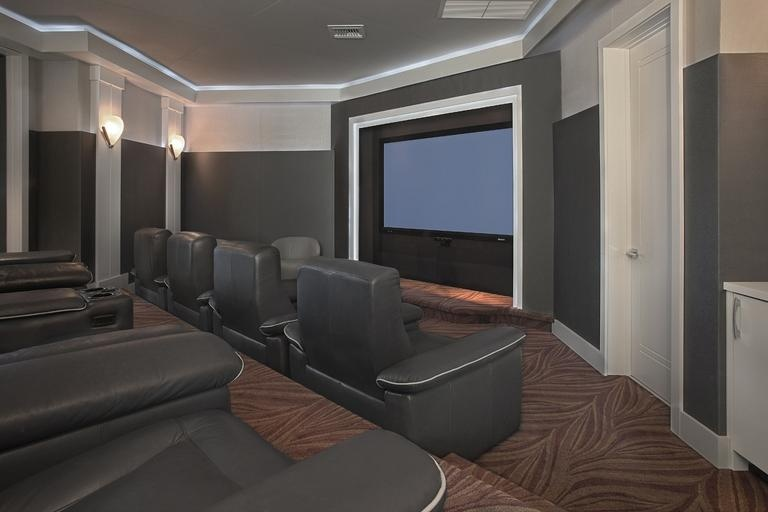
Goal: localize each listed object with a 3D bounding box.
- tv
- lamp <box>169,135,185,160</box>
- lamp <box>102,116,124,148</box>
[{"bbox_3d":[0.876,-1.019,6.550,1.702,1.058,0.064,3,3,43],"label":"tv"},{"bbox_3d":[-3.189,-1.686,7.478,0.202,0.377,0.305,-3,8,-13],"label":"lamp"},{"bbox_3d":[-3.409,-1.581,6.162,0.214,0.389,0.352,-1,8,1],"label":"lamp"}]
